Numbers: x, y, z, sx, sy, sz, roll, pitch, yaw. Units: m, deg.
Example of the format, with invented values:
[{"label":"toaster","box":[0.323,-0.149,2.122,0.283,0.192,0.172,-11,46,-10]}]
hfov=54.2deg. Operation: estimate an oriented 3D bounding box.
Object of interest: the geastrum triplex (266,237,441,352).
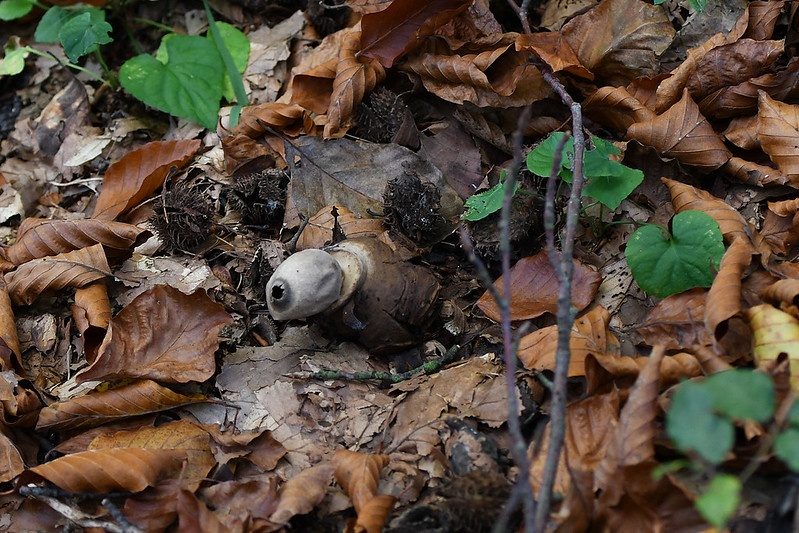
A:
[{"label":"geastrum triplex","box":[-0.236,0.115,4.354,0.897,0.736,0.516,-10,54,3]}]
